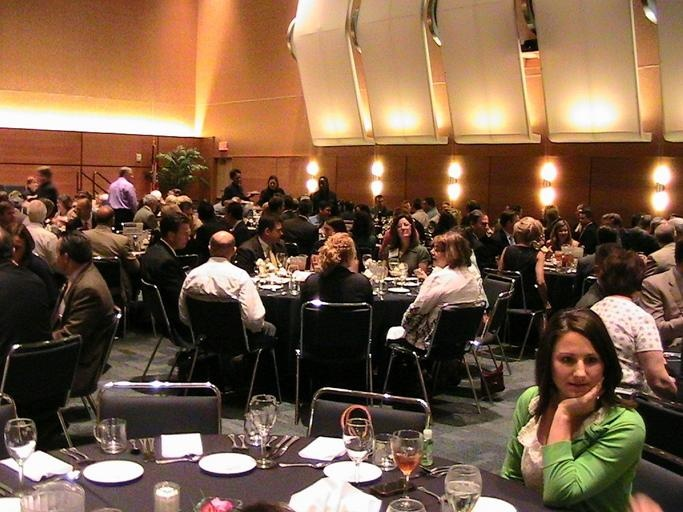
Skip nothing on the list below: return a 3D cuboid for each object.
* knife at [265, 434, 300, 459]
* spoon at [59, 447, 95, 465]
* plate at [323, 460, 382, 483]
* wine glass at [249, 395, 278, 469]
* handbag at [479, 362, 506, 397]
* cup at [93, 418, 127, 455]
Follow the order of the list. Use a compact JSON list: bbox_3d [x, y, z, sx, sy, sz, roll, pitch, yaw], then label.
[{"bbox_3d":[-0.251,0.814,2.173,0.073,0.004,0.226,4,7,8],"label":"knife"},{"bbox_3d":[-1.070,0.801,2.068,0.057,0.016,0.174,-10,11,-39],"label":"spoon"},{"bbox_3d":[0.043,0.828,1.956,0.120,0.013,0.122,4,5,38],"label":"plate"},{"bbox_3d":[-0.326,0.735,2.118,0.135,0.312,0.141,3,20,9],"label":"wine glass"},{"bbox_3d":[1.510,1.236,5.183,0.296,0.348,0.156,-6,10,-18],"label":"handbag"},{"bbox_3d":[-0.954,0.752,2.122,0.126,0.122,0.093,5,-5,-36],"label":"cup"}]
